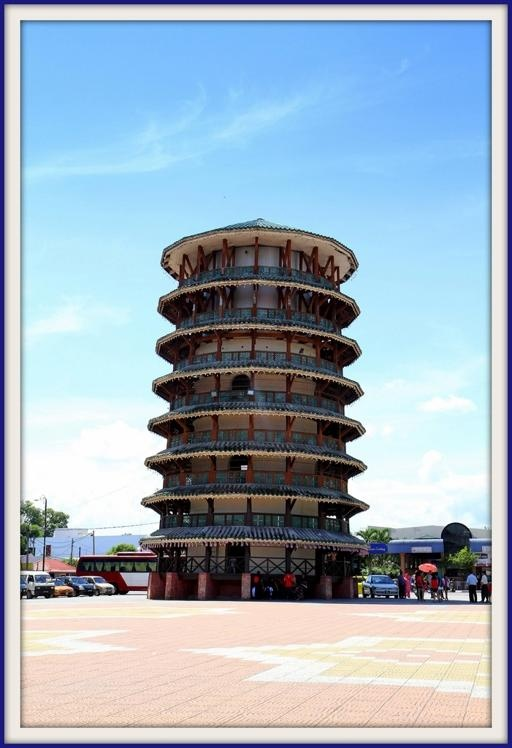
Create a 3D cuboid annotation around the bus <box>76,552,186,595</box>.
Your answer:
[{"bbox_3d":[-10.039,14.801,62.246,2.420,3.014,9.198,-21,-22,33],"label":"bus"}]

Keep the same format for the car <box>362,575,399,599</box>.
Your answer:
[{"bbox_3d":[6.947,12.072,47.988,1.202,0.837,2.571,1,-21,-6],"label":"car"}]
